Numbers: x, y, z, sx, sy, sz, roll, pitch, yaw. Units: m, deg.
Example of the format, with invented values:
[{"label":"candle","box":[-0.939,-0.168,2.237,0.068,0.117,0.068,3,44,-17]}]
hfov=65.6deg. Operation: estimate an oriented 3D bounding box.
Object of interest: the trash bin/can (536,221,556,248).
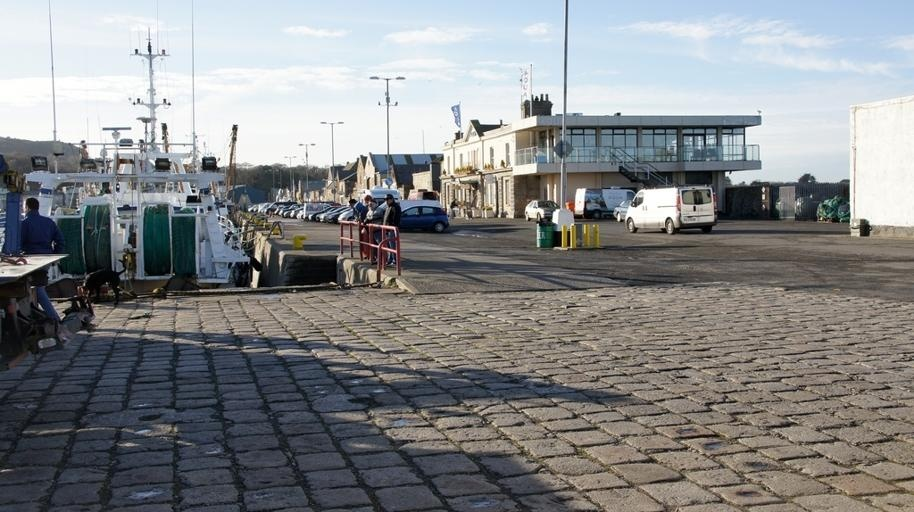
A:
[{"label":"trash bin/can","box":[3.540,-0.849,27.846,1.027,0.854,0.920,0,2,-2]}]

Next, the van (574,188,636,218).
[{"label":"van","box":[11.869,-4.190,55.487,4.925,1.827,2.316,-2,5,-7]}]

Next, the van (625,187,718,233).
[{"label":"van","box":[11.112,-2.463,37.450,2.298,2.539,4.821,-9,14,-31]}]
